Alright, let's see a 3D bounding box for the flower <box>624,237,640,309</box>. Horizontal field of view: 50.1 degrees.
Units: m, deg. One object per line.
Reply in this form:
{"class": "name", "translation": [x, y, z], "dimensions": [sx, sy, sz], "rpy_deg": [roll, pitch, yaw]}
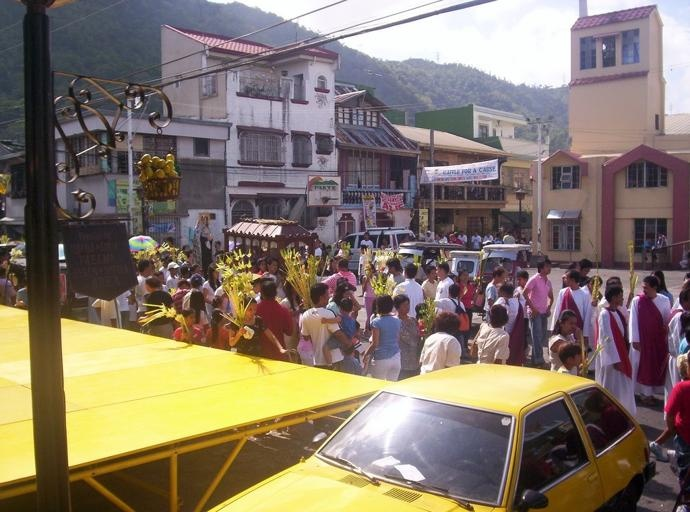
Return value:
{"class": "flower", "translation": [4.995, 0.329, 12.884], "dimensions": [0.230, 1.167, 0.227], "rpy_deg": [-7, 17, 4]}
